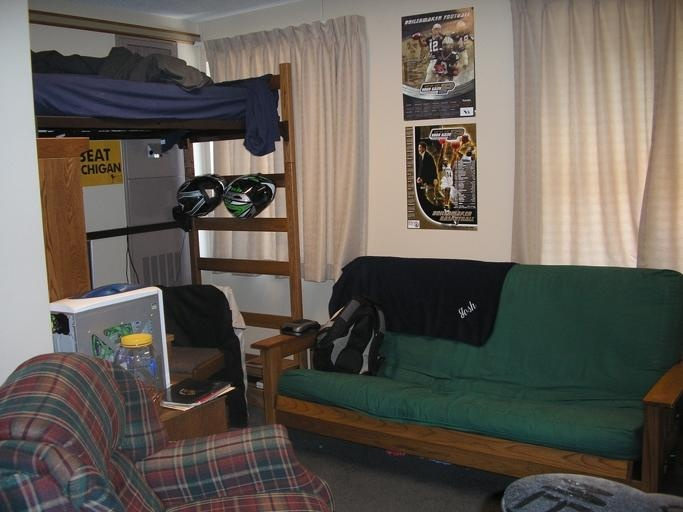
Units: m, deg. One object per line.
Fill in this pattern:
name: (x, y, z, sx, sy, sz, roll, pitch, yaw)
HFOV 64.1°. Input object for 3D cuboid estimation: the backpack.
backpack: (0.025, 0.576, 3.718, 0.524, 0.529, 0.395, 7, -15, 4)
